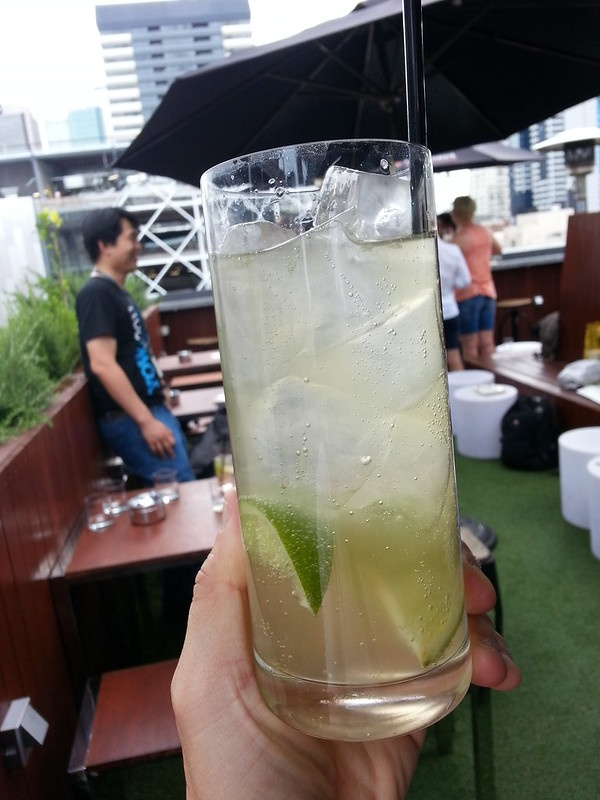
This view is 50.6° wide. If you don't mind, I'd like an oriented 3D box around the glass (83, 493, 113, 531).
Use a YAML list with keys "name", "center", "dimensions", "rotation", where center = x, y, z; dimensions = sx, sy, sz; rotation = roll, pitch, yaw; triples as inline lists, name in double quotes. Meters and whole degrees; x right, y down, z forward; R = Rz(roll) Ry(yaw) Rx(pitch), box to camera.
- name: "glass"
  center: [-0.703, 0.393, 2.214]
  dimensions: [0.071, 0.094, 0.125]
  rotation: [-1, -1, -13]

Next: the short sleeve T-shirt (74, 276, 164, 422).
- name: "short sleeve T-shirt"
  center: [-0.790, -0.237, 2.856]
  dimensions: [0.387, 0.669, 0.305]
  rotation: [-19, 22, -31]

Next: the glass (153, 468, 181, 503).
- name: "glass"
  center: [-0.499, 0.319, 2.386]
  dimensions: [0.099, 0.126, 0.108]
  rotation: [-1, -2, 0]

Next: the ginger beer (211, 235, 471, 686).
- name: "ginger beer"
  center: [0.032, 0.044, 0.523]
  dimensions: [0.176, 0.372, 0.144]
  rotation: [-4, 18, 8]

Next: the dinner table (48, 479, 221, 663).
- name: "dinner table"
  center: [-0.464, 0.613, 2.136]
  dimensions: [0.592, 0.598, 0.430]
  rotation: [-5, 20, -10]

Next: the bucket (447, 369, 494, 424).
- name: "bucket"
  center: [1.224, -0.068, 4.491]
  dimensions: [0.353, 0.377, 0.435]
  rotation: [4, 54, 10]

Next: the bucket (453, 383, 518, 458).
- name: "bucket"
  center: [1.122, 0.117, 3.928]
  dimensions: [0.399, 0.494, 0.424]
  rotation: [-1, 15, 0]
